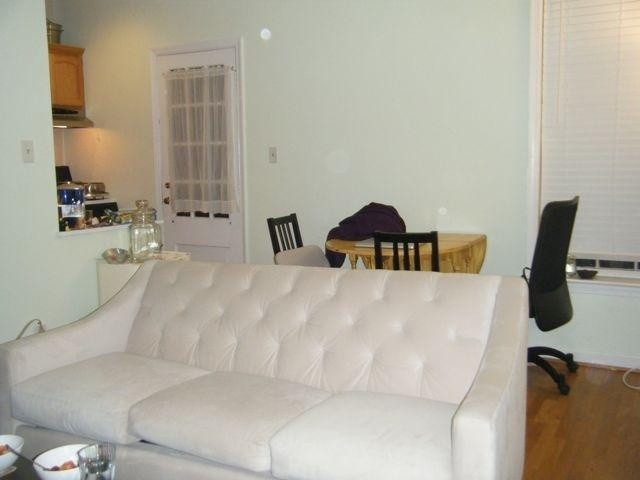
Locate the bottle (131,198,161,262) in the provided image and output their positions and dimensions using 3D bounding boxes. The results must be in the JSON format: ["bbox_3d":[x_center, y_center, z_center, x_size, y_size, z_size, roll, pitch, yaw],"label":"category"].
[{"bbox_3d":[-1.180,-0.032,3.569,0.204,0.356,0.112,-2,9,-6],"label":"bottle"}]

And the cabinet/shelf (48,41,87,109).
[{"bbox_3d":[-2.692,-1.687,5.639,0.452,0.588,0.455,-3,0,-8],"label":"cabinet/shelf"}]

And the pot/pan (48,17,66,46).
[{"bbox_3d":[-2.730,-2.130,5.486,0.125,0.271,0.295,-4,9,-17],"label":"pot/pan"}]

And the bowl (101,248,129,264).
[{"bbox_3d":[-1.397,0.105,3.608,0.142,0.056,0.106,8,13,-6],"label":"bowl"}]

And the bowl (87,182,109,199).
[{"bbox_3d":[-2.326,-0.507,5.524,0.257,0.168,0.168,-9,11,-43],"label":"bowl"}]

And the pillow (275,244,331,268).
[{"bbox_3d":[-0.114,0.115,3.518,0.178,0.053,0.208,6,18,31],"label":"pillow"}]

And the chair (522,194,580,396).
[{"bbox_3d":[1.486,0.356,3.435,0.319,1.256,0.698,3,10,26],"label":"chair"}]

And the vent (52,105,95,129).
[{"bbox_3d":[-2.695,-1.284,5.597,0.570,0.223,0.456,6,11,41],"label":"vent"}]
